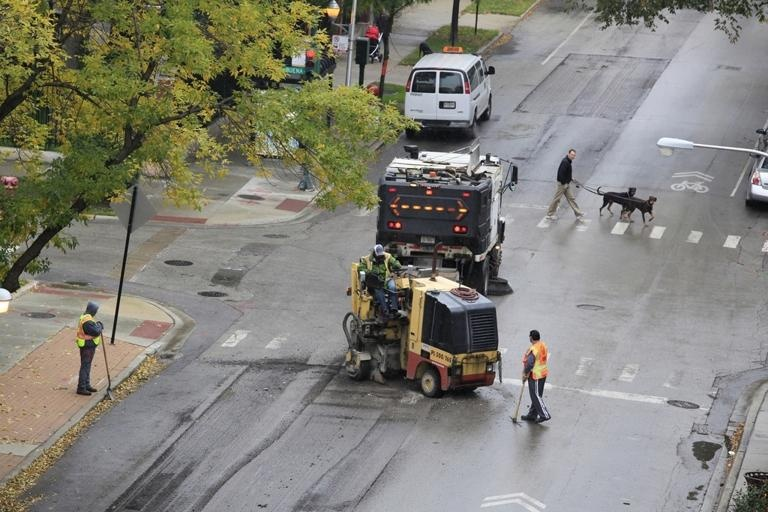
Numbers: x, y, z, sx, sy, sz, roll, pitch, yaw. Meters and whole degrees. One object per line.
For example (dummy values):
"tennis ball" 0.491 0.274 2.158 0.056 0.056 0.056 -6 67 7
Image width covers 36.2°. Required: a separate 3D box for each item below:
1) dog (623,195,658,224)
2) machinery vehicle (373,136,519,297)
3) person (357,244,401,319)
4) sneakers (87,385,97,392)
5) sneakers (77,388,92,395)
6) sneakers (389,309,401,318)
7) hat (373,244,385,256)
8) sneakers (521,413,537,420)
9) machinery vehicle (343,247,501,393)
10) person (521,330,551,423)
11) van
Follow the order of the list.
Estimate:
"dog" 7.721 -1.514 35.783 0.938 1.026 1.144 4 25 11
"machinery vehicle" 1.490 -0.918 31.247 4.061 3.630 5.363 5 13 7
"person" -0.060 0.674 25.529 0.947 1.635 1.101 -12 20 -15
"sneakers" -6.169 2.803 24.788 0.224 0.083 0.078 4 11 21
"sneakers" -6.312 2.868 24.764 0.360 0.124 0.116 -1 12 -3
"sneakers" 0.221 1.258 25.259 0.340 0.172 0.170 1 27 6
"hat" -0.072 -0.132 25.485 0.224 0.262 0.253 2 51 -13
"sneakers" 2.946 3.308 24.116 0.309 0.117 0.111 6 10 25
"machinery vehicle" 0.895 1.477 25.605 2.174 2.603 3.554 -5 13 -38
"person" 3.124 2.435 24.026 0.595 1.775 0.998 2 26 8
"van" 2.454 -6.122 43.649 2.944 2.422 4.752 3 20 10
